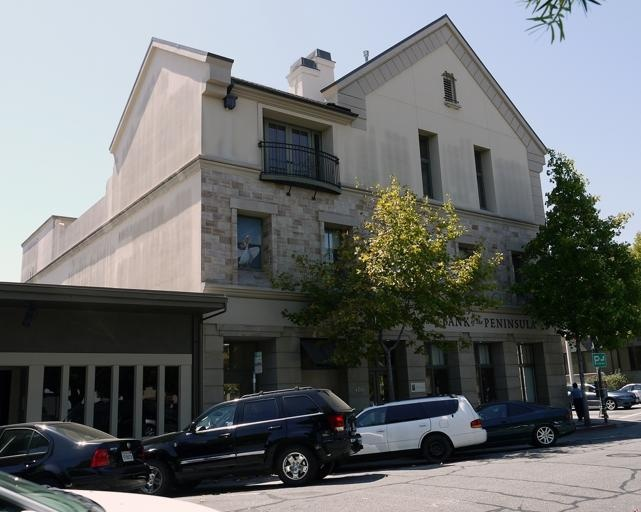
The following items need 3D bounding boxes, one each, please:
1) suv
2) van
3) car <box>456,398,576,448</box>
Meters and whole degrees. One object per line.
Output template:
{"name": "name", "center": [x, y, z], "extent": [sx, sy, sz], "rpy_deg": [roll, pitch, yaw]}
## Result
{"name": "suv", "center": [-1.350, 4.068, 12.573], "extent": [4.611, 1.926, 2.223], "rpy_deg": [-3, -15, 8]}
{"name": "van", "center": [2.582, 4.638, 15.222], "extent": [3.529, 1.345, 1.662], "rpy_deg": [-2, -10, 4]}
{"name": "car", "center": [6.265, 5.181, 17.340], "extent": [3.064, 1.088, 1.354], "rpy_deg": [1, -11, 1]}
